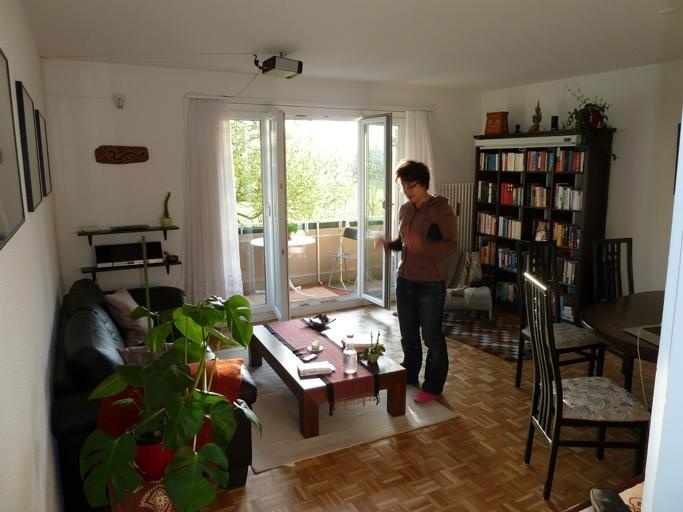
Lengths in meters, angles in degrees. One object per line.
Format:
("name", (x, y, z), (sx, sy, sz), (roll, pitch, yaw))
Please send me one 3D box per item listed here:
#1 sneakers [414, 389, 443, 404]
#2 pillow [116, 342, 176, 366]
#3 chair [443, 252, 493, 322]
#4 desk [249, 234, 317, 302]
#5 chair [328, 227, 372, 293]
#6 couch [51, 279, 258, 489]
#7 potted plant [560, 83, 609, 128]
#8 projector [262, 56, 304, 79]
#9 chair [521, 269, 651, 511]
("sneakers", (0.704, 1.140, 4.048), (0.198, 0.084, 0.103), (8, -6, -39))
("pillow", (-1.286, 0.623, 3.078), (0.274, 0.090, 0.285), (3, 9, -11))
("chair", (1.540, 0.301, 6.026), (0.469, 0.590, 0.899), (0, 7, 15))
("desk", (-1.056, 0.128, 6.473), (0.775, 0.609, 0.765), (-8, 15, -43))
("chair", (0.007, -0.003, 7.309), (0.454, 1.029, 1.202), (-1, 13, -1))
("couch", (-1.062, 0.717, 2.716), (0.508, 0.510, 1.169), (-5, 17, -23))
("potted plant", (2.707, -1.654, 5.427), (0.458, 0.501, 0.695), (5, 14, 23))
("projector", (-0.566, -1.786, 4.627), (0.313, 0.183, 0.348), (-5, 14, -18))
("chair", (1.512, 0.789, 3.091), (0.703, 1.304, 0.513), (1, 13, 6))
